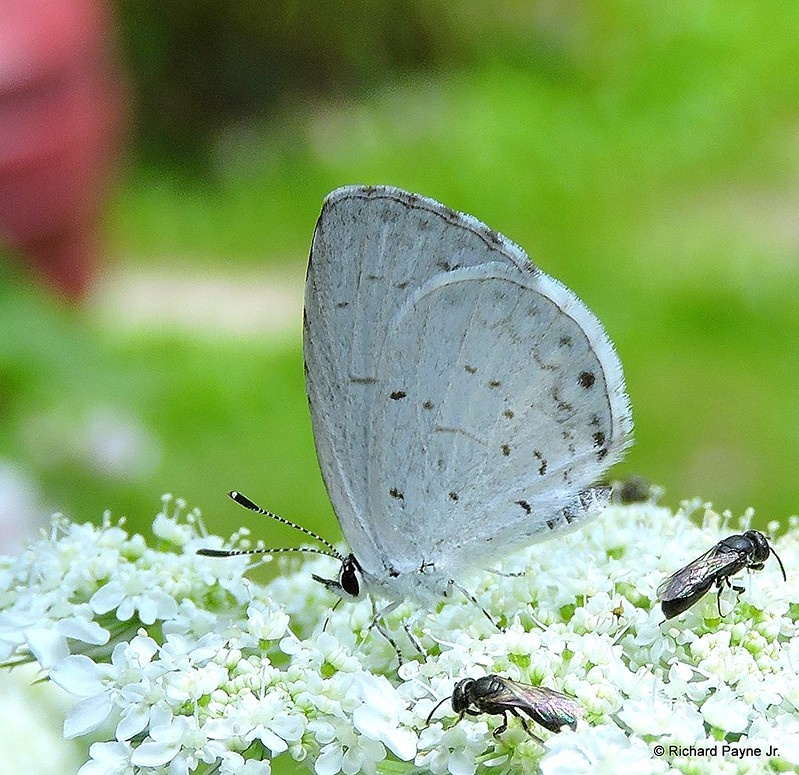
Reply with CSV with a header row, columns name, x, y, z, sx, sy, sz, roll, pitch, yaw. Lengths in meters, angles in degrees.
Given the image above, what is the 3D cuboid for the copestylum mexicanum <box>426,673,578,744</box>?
name,x,y,z,sx,sy,sz,roll,pitch,yaw
copestylum mexicanum,0.211,0.644,2.245,0.335,0.139,0.134,-19,-34,34

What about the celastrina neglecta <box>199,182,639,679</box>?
name,x,y,z,sx,sy,sz,roll,pitch,yaw
celastrina neglecta,0.057,0.029,2.933,0.832,1.329,0.616,-4,12,-37
